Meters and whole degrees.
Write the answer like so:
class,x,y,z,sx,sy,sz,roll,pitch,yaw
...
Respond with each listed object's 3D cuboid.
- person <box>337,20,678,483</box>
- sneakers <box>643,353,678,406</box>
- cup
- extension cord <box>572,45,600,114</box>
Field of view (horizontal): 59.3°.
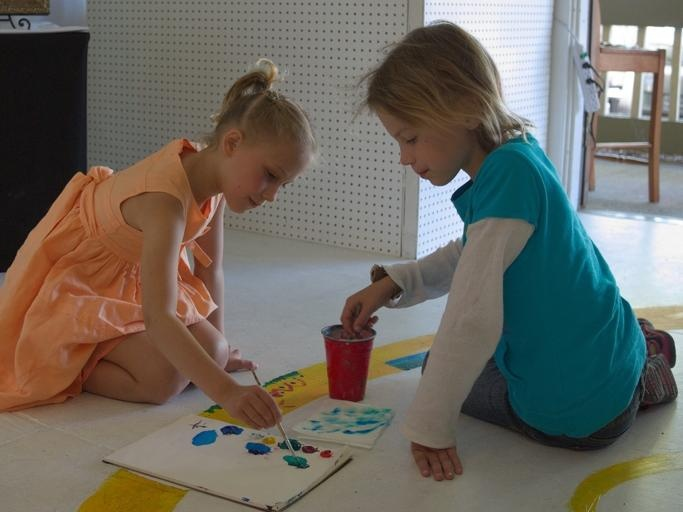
class,x,y,z,sx,sy,sz,roll,pitch,yaw
person,0.476,-0.049,1.501,0.743,1.051,0.441,-6,15,-9
sneakers,0.890,0.347,1.674,0.066,0.147,0.131,-7,-1,33
cup,0.017,0.295,1.689,0.139,0.193,0.149,1,13,0
extension cord,1.521,-1.068,3.715,0.142,0.471,0.141,-7,20,-18
